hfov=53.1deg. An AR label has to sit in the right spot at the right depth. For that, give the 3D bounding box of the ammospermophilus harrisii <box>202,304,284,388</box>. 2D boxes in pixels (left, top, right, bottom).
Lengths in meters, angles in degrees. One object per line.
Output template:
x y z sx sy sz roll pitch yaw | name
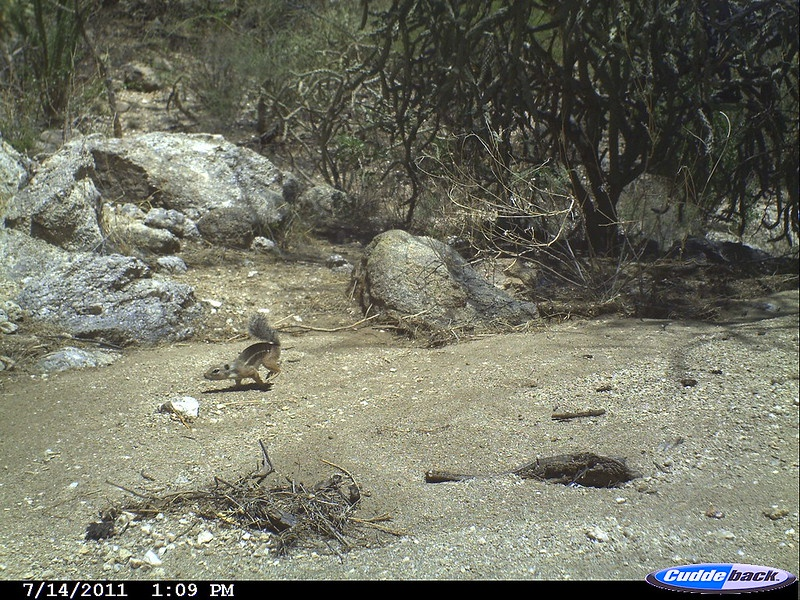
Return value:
-1.179 0.417 6.142 0.656 0.486 0.396 -15 25 -27 | ammospermophilus harrisii
